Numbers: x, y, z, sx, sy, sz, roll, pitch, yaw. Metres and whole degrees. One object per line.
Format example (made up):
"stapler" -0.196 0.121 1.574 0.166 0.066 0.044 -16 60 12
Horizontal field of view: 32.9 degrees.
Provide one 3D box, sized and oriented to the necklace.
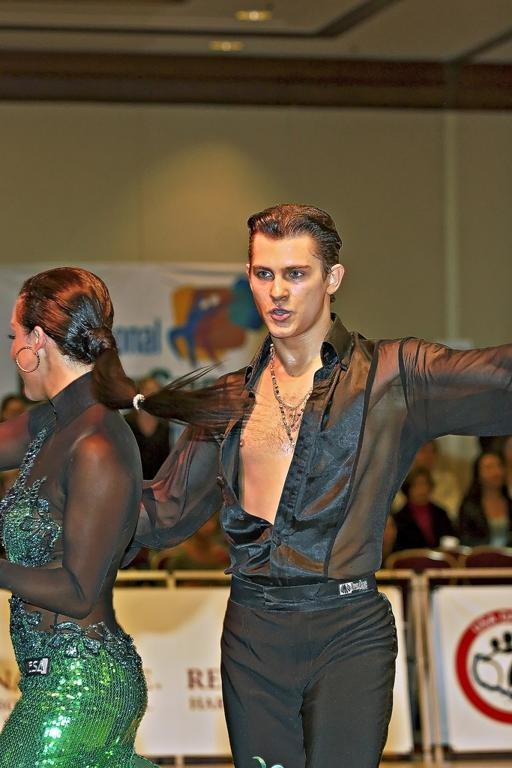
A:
"necklace" 0.094 0.033 2.225 0.114 0.015 0.332 11 35 -5
